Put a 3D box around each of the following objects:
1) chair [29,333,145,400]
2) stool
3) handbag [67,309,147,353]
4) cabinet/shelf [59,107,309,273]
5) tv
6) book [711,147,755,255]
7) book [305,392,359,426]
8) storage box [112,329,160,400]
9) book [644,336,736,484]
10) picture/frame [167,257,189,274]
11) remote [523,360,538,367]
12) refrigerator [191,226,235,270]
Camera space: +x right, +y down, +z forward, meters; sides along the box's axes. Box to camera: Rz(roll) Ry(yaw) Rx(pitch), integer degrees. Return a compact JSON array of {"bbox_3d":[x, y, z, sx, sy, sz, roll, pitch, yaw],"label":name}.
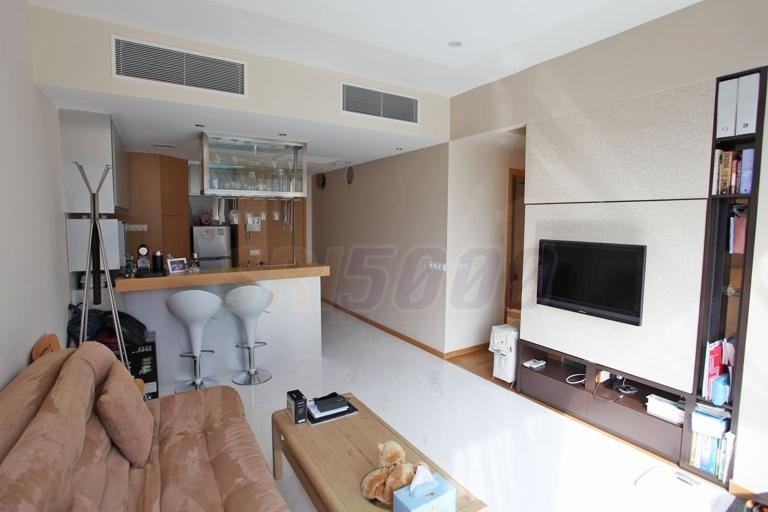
[{"bbox_3d":[-2.582,0.931,4.491,0.716,0.868,0.741,1,3,-20],"label":"chair"},{"bbox_3d":[-1.883,0.933,5.628,1.078,1.126,0.468,-1,15,-24],"label":"stool"},{"bbox_3d":[-2.832,0.722,5.188,0.577,0.225,0.448,1,22,-36],"label":"handbag"},{"bbox_3d":[-2.394,-0.674,7.518,2.613,1.983,4.654,-1,6,-9],"label":"cabinet/shelf"},{"bbox_3d":[2.070,0.254,4.936,0.089,0.624,0.837,-5,9,-43],"label":"tv"},{"bbox_3d":[2.943,-0.458,4.289,0.287,0.885,0.173,4,8,32],"label":"book"},{"bbox_3d":[-0.463,1.268,4.226,0.264,0.081,0.249,-3,7,-31],"label":"book"},{"bbox_3d":[-2.601,1.226,5.241,0.347,0.603,0.373,-12,-9,9],"label":"storage box"},{"bbox_3d":[2.830,1.317,4.388,0.369,1.198,0.287,4,7,30],"label":"book"},{"bbox_3d":[-2.401,0.117,5.880,0.189,0.156,0.089,-5,20,-45],"label":"picture/frame"},{"bbox_3d":[1.653,1.177,5.544,0.107,0.025,0.078,-10,15,-40],"label":"remote"},{"bbox_3d":[-2.777,-0.135,8.121,0.572,1.063,0.524,-5,11,-35],"label":"refrigerator"}]
